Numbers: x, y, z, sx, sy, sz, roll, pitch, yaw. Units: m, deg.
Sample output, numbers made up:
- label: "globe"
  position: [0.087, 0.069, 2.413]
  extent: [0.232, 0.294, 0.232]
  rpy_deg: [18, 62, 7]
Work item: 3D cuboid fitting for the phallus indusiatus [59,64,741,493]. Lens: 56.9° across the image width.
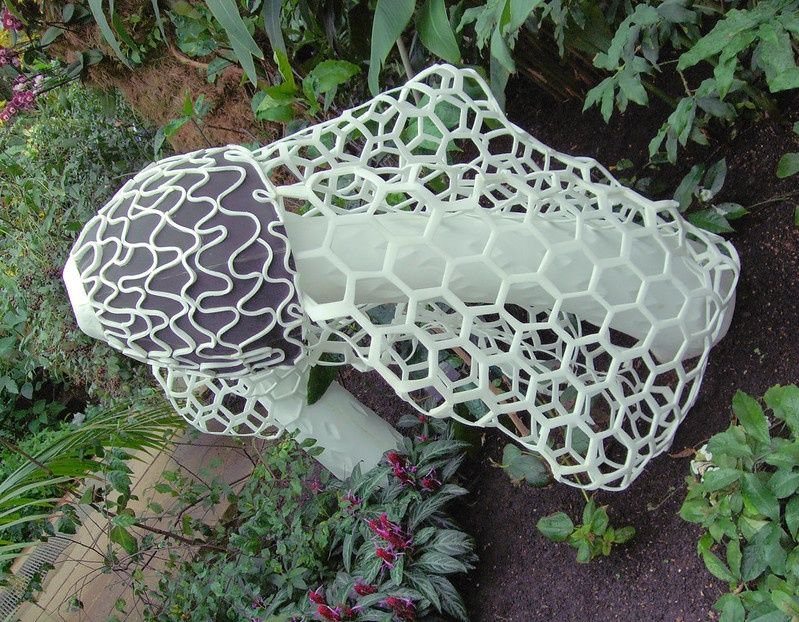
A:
- label: "phallus indusiatus"
  position: [0.001, 0.091, 1.701]
  extent: [1.512, 0.562, 0.990]
  rpy_deg: [4, 47, -8]
